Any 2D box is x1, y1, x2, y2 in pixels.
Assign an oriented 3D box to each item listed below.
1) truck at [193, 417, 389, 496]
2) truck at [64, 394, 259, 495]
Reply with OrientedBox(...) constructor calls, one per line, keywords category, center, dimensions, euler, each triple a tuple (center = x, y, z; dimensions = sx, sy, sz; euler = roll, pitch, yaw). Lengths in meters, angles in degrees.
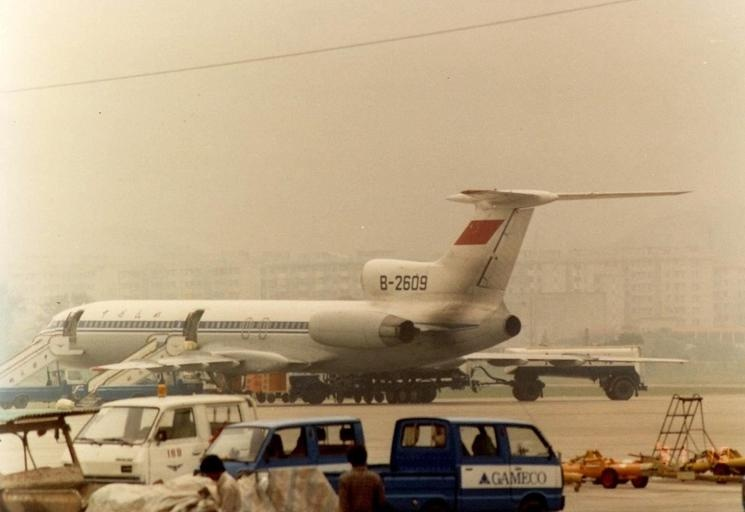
OrientedBox(category="truck", center=(-3.286, 7.305, 51.015), dimensions=(4.871, 2.143, 2.857), euler=(4, -8, -24))
OrientedBox(category="truck", center=(-8.201, 7.183, 53.672), dimensions=(4.258, 3.157, 7.148), euler=(5, 3, 31))
